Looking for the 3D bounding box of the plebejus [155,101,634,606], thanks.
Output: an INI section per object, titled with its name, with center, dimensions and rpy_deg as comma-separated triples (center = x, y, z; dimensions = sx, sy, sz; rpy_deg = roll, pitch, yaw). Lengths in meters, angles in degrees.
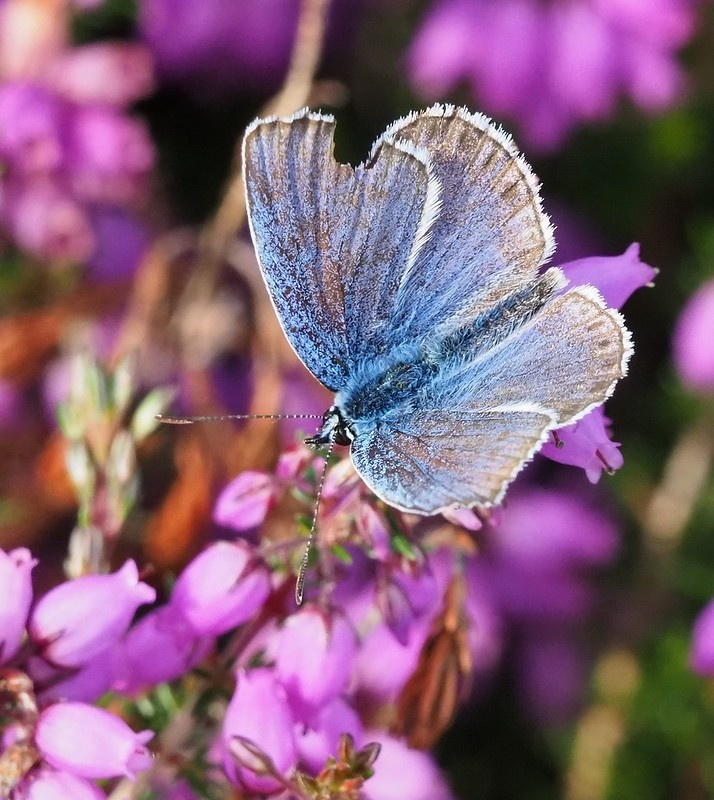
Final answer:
[plebejus]
center = 0.029, -0.041, 0.515
dimensions = 0.181, 0.166, 0.139
rpy_deg = -16, 12, 27
